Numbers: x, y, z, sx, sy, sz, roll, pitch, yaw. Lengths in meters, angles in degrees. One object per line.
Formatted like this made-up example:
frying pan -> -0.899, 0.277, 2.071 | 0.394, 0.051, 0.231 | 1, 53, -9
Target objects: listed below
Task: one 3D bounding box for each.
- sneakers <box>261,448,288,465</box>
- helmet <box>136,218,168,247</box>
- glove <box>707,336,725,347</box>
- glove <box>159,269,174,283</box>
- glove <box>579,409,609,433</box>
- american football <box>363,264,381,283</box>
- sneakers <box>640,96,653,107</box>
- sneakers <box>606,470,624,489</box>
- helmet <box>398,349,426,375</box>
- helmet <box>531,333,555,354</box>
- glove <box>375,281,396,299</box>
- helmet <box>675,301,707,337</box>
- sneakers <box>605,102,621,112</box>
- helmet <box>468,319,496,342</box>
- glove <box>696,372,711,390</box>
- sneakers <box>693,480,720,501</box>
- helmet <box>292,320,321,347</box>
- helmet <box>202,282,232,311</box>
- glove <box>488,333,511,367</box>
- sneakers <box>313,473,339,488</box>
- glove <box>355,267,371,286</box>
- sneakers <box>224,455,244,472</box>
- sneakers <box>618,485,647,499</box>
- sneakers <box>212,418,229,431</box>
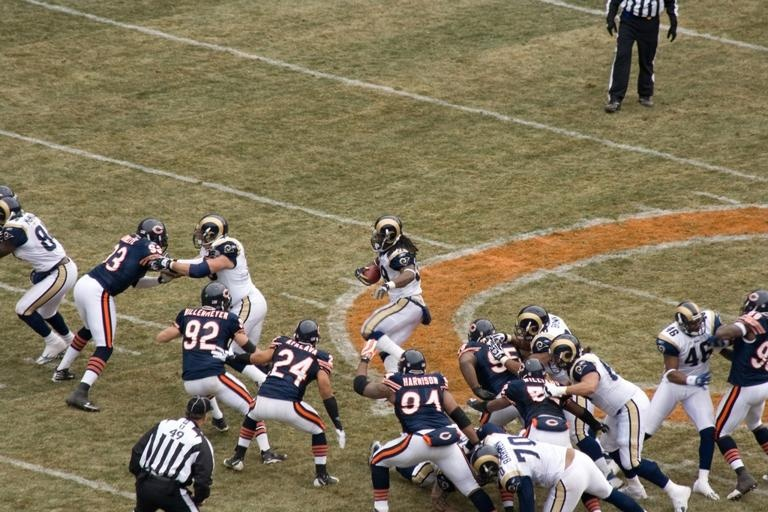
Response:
sneakers -> -1.850, 3.282, 23.774 | 0.564, 0.246, 0.181 | -4, 22, -5
helmet -> -4.043, -0.422, 25.247 | 0.578, 0.481, 0.449 | 2, 8, -29
glove -> 5.421, 1.402, 23.691 | 0.267, 0.145, 0.099 | 20, 19, 11
glove -> -3.822, 0.350, 25.239 | 0.248, 0.222, 0.196 | 6, 28, -24
glove -> 3.381, 2.658, 23.325 | 0.535, 0.276, 0.168 | 33, 19, -1
american football -> -0.207, 0.314, 25.241 | 0.254, 0.277, 0.266 | 9, -5, -11
sneakers -> 6.084, -3.604, 33.581 | 0.158, 0.157, 0.390 | -8, 23, -7
sneakers -> 3.724, 3.652, 23.587 | 0.192, 0.324, 0.100 | -45, -6, -22
helmet -> 0.431, 1.704, 23.035 | 0.363, 0.306, 0.412 | 2, 3, -7
helmet -> 2.558, 1.428, 23.515 | 0.343, 0.319, 0.268 | 6, 14, 10
glove -> -0.005, 0.577, 24.939 | 0.260, 0.344, 0.152 | 18, 14, -13
helmet -> 5.020, 1.008, 23.711 | 0.443, 0.453, 0.564 | -23, 22, -20
sneakers -> 5.267, -3.441, 33.304 | 0.332, 0.118, 0.205 | -4, 14, -16
helmet -> 1.582, 1.238, 24.033 | 0.456, 0.352, 0.337 | 1, -3, 14
glove -> 5.232, 2.020, 23.516 | 0.294, 0.121, 0.201 | -9, -24, -17
sneakers -> 5.207, 3.776, 23.384 | 0.417, 0.270, 0.265 | 5, 16, 4
helmet -> -1.286, 1.205, 23.668 | 0.383, 0.416, 0.481 | 16, 15, 20
helmet -> -2.818, 0.665, 23.992 | 0.425, 0.391, 0.518 | 11, 6, 27
glove -> 1.886, 1.531, 23.785 | 0.424, 0.161, 0.484 | -11, 53, -15
sneakers -> -0.977, 3.639, 23.458 | 0.500, 0.199, 0.160 | -4, 45, -17
glove -> -0.406, 0.344, 25.321 | 0.185, 0.326, 0.260 | -41, 7, -2
sneakers -> -2.447, 3.376, 23.545 | 0.432, 0.143, 0.219 | 10, 46, 31
sneakers -> 4.050, 3.835, 23.398 | 0.508, 0.189, 0.162 | 7, -8, 11
sneakers -> -2.758, 2.838, 24.218 | 0.334, 0.206, 0.150 | 13, 37, 10
